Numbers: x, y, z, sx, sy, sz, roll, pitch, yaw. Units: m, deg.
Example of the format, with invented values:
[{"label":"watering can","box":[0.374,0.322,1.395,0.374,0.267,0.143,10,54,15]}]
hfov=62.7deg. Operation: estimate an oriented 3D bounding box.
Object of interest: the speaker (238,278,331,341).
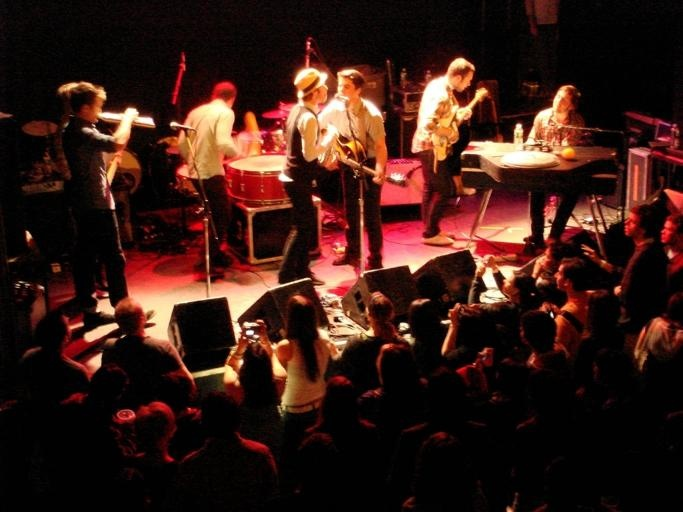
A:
[{"label":"speaker","box":[-0.442,0.364,4.319,0.600,0.262,0.582,-18,29,-40]}]

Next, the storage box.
[{"label":"storage box","box":[-0.758,-0.351,6.316,0.966,0.562,0.863,-6,12,-29]}]

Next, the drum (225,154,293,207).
[{"label":"drum","box":[-0.892,-0.825,6.012,0.697,0.241,0.603,-1,25,0]}]

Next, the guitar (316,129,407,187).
[{"label":"guitar","box":[0.167,-0.850,5.097,0.890,0.356,0.130,32,31,24]}]

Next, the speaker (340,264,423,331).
[{"label":"speaker","box":[0.318,0.342,4.609,0.621,0.470,0.551,-7,19,-25]}]

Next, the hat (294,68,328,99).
[{"label":"hat","box":[-0.262,-1.500,4.859,0.247,0.255,0.210,0,17,-3]}]

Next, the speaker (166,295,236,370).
[{"label":"speaker","box":[-0.974,0.542,4.152,0.567,0.487,0.513,-10,37,-16]}]

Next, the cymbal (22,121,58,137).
[{"label":"cymbal","box":[-3.396,-1.443,6.325,0.347,0.173,0.433,-6,16,-24]}]

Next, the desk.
[{"label":"desk","box":[2.101,-0.506,5.960,0.963,0.639,1.079,1,1,-11]}]

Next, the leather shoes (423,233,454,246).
[{"label":"leather shoes","box":[1.129,-0.195,6.456,0.390,0.132,0.127,1,14,5]}]

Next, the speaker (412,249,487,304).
[{"label":"speaker","box":[0.959,0.171,4.968,0.573,0.406,0.537,-26,36,-37]}]
